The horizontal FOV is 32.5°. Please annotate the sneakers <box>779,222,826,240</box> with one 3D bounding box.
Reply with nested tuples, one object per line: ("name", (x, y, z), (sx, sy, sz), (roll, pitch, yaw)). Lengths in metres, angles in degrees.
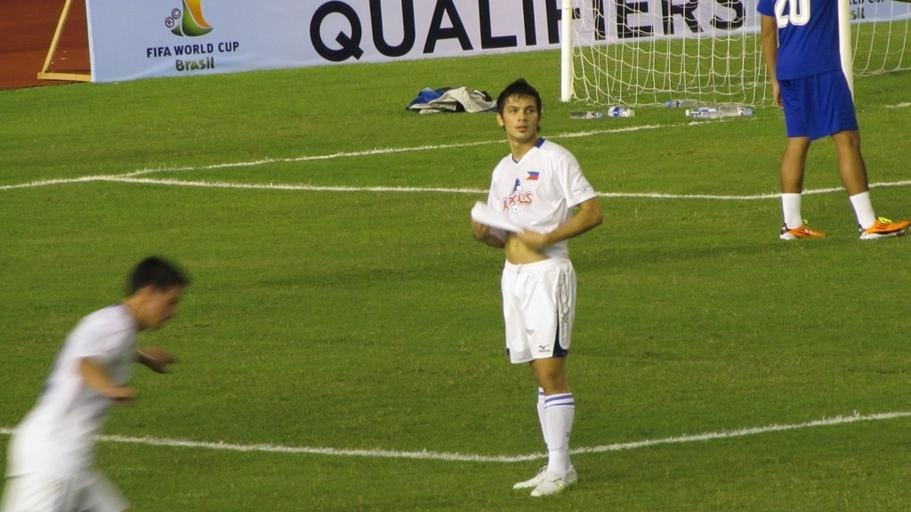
("sneakers", (5.162, -0.363, 23.338), (0.714, 0.263, 0.235), (1, 2, -1))
